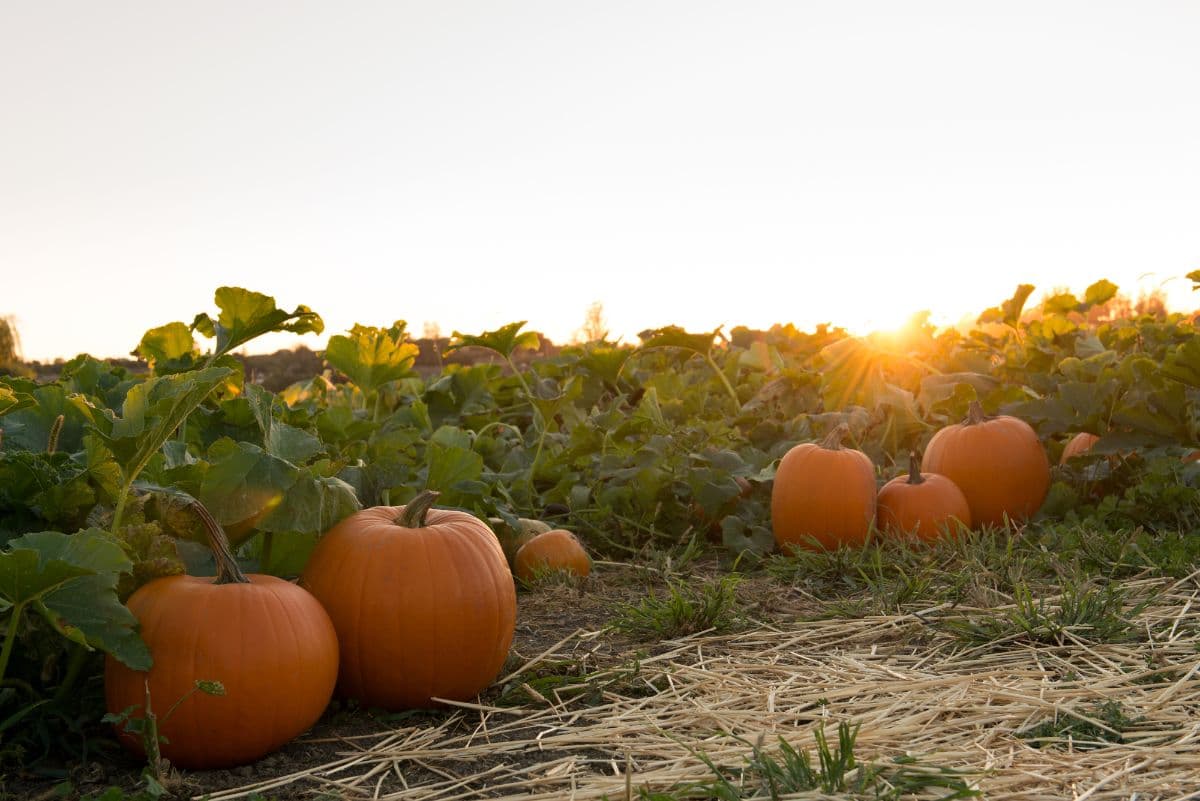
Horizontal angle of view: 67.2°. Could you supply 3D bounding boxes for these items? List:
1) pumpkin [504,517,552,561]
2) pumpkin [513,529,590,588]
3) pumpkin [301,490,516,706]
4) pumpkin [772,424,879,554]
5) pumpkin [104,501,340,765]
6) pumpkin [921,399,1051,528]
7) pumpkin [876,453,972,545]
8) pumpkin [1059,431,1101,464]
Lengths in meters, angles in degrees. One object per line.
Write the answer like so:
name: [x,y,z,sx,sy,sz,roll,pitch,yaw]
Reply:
pumpkin: [-0.338,0.627,4.268,0.222,0.217,0.225,-1,-20,0]
pumpkin: [-0.235,0.735,4.303,0.262,0.250,0.260,-9,-7,6]
pumpkin: [-0.633,0.619,3.384,0.722,0.737,0.737,-2,-4,33]
pumpkin: [1.081,0.476,4.690,0.516,0.682,0.507,3,-2,-28]
pumpkin: [-1.273,0.761,3.328,0.783,1.026,0.760,-4,-4,-19]
pumpkin: [2.052,0.323,4.775,0.585,0.561,0.600,-4,0,28]
pumpkin: [1.645,0.484,4.631,0.401,0.410,0.357,-8,10,-27]
pumpkin: [2.689,0.276,5.060,0.172,0.194,0.477,1,10,27]
